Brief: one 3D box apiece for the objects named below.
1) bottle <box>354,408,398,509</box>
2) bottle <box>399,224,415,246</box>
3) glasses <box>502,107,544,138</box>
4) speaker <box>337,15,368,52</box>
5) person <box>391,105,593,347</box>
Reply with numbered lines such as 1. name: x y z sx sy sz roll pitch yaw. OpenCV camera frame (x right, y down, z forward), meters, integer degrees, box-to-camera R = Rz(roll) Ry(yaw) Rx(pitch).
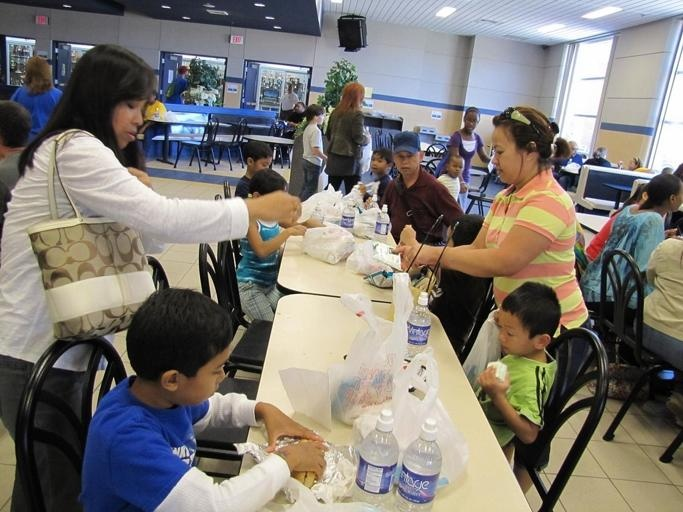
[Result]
1. bottle: 0.094 0.478 1.238 0.108 0.257 0.151 6 17 4
2. bottle: 0.330 -0.094 2.451 0.064 0.128 0.074 3 -1 -15
3. glasses: 0.746 -0.560 2.045 0.128 0.041 0.115 32 7 -5
4. speaker: 0.215 -4.386 9.681 0.625 0.621 0.523 20 22 41
5. person: 0.725 0.115 2.298 0.738 1.493 0.517 -3 15 17
